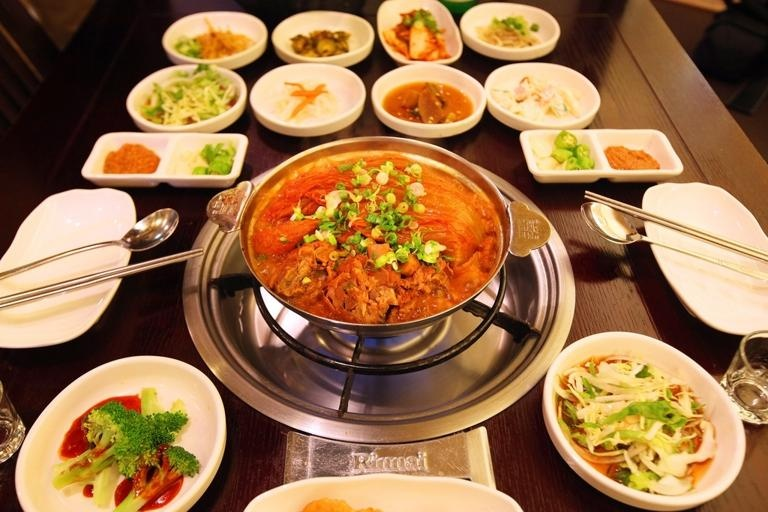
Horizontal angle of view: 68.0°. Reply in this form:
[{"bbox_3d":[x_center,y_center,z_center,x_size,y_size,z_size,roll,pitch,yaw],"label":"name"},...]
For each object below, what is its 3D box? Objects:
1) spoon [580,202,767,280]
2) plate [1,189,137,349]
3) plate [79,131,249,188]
[{"bbox_3d":[1.874,-0.083,3.695,0.927,0.116,0.166,25,82,14],"label":"spoon"},{"bbox_3d":[-2.023,0.033,3.622,0.674,0.213,1.091,11,54,7],"label":"plate"},{"bbox_3d":[-1.525,-0.638,4.096,0.897,0.159,0.529,1,57,-2],"label":"plate"}]
